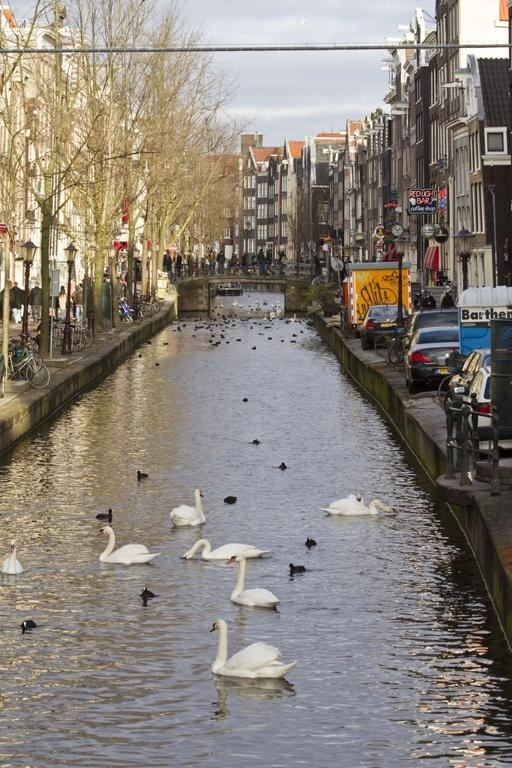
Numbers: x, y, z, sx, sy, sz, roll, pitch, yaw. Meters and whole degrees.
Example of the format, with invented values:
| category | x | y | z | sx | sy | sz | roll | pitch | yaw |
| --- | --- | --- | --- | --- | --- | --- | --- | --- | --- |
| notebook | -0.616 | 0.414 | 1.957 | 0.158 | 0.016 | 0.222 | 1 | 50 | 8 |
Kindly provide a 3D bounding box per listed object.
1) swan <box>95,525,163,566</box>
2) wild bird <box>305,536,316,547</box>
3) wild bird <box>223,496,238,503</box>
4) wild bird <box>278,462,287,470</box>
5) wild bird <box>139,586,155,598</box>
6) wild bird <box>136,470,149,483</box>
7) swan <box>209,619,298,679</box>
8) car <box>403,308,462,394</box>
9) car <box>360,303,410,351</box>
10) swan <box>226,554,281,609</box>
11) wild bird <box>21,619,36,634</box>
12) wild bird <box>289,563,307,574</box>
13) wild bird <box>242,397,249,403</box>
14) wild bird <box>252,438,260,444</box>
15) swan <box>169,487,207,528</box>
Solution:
| category | x | y | z | sx | sy | sz | roll | pitch | yaw |
| --- | --- | --- | --- | --- | --- | --- | --- | --- | --- |
| swan | -1.247 | 1.587 | 9.938 | 0.651 | 0.336 | 0.260 | 3 | 5 | 20 |
| wild bird | 0.568 | 1.645 | 10.631 | 0.119 | 0.111 | 0.291 | 1 | 6 | 3 |
| wild bird | -0.348 | 1.537 | 13.489 | 0.161 | 0.100 | 0.226 | 0 | 5 | -2 |
| wild bird | 0.429 | 1.334 | 16.491 | 0.098 | 0.127 | 0.047 | 2 | 23 | -3 |
| wild bird | -0.879 | 1.693 | 8.304 | 0.080 | 0.090 | 0.120 | -1 | 22 | -19 |
| wild bird | -1.765 | 1.417 | 15.617 | 0.109 | 0.174 | 0.200 | -1 | 5 | 2 |
| swan | -0.012 | 1.532 | 5.811 | 0.593 | 0.436 | 0.243 | -2 | -4 | 30 |
| car | 4.166 | -0.775 | 24.994 | 1.022 | 1.169 | 2.837 | -1 | 11 | 1 |
| car | 4.701 | -2.033 | 38.655 | 0.967 | 1.075 | 2.540 | 0 | 8 | 3 |
| swan | -0.010 | 1.568 | 7.962 | 0.265 | 0.342 | 0.623 | -4 | 7 | -41 |
| wild bird | -1.647 | 1.755 | 7.326 | 0.044 | 0.086 | 0.148 | -2 | -3 | -4 |
| wild bird | 0.377 | 1.698 | 9.367 | 0.161 | 0.094 | 0.293 | 1 | 6 | 2 |
| wild bird | -0.298 | 0.426 | 27.003 | 0.107 | 0.067 | 0.124 | 2 | 10 | 1 |
| wild bird | -0.017 | 1.106 | 19.420 | 0.145 | 0.100 | 0.294 | 1 | 6 | 1 |
| swan | -0.758 | 1.494 | 12.089 | 0.237 | 0.537 | 0.607 | 3 | 4 | 35 |
